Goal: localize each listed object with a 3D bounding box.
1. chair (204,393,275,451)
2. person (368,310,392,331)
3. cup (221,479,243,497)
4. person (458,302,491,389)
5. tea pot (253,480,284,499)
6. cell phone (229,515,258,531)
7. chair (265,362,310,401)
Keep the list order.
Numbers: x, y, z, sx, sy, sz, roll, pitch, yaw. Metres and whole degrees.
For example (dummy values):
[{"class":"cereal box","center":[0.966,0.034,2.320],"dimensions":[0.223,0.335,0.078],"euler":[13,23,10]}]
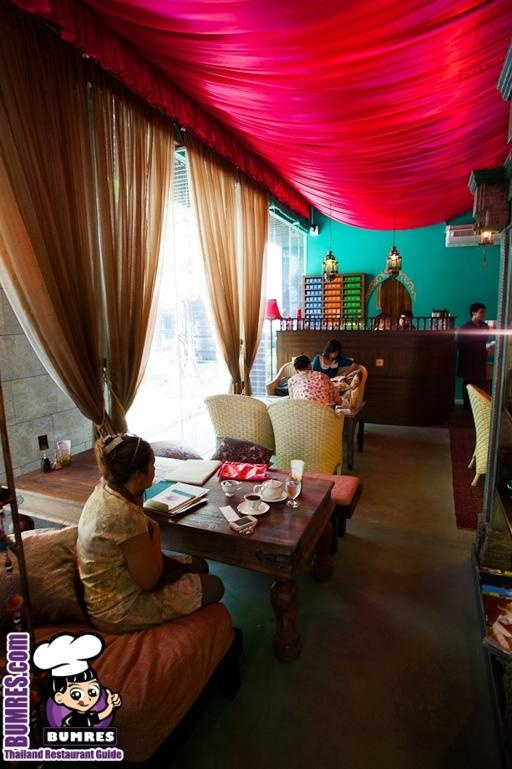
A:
[{"class":"chair","center":[-0.084,0.166,3.430],"dimensions":[0.351,0.501,0.411],"euler":[4,17,19]},{"class":"person","center":[1.635,-0.839,6.353],"dimensions":[0.255,0.217,1.096],"euler":[1,8,14]},{"class":"cup","center":[-0.109,0.450,2.091],"dimensions":[0.048,0.054,0.079],"euler":[-1,-5,14]},{"class":"person","center":[2.715,-0.498,6.097],"dimensions":[0.340,1.078,0.452],"euler":[3,8,26]},{"class":"tea pot","center":[0.048,0.438,2.043],"dimensions":[0.113,0.061,0.067],"euler":[-2,1,16]},{"class":"cell phone","center":[-0.049,0.506,1.766],"dimensions":[0.086,0.023,0.094],"euler":[6,11,39]},{"class":"chair","center":[0.346,-0.057,5.619],"dimensions":[0.310,0.492,0.395],"euler":[6,14,30]}]
